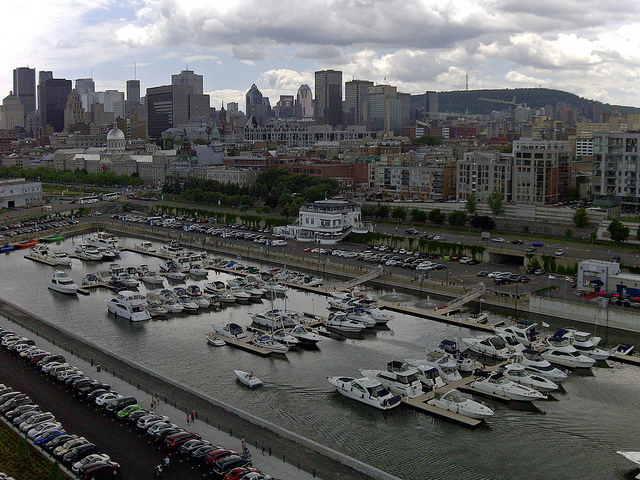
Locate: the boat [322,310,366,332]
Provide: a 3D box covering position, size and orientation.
[{"bbox_3d":[1.737,6.349,49.374,2.931,0.982,1.387,6,13,29],"label":"boat"}]

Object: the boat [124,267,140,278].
[{"bbox_3d":[-18.784,3.215,64.661,0.999,0.525,1.288,-13,35,-43],"label":"boat"}]

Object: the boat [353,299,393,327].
[{"bbox_3d":[4.201,5.751,51.724,4.067,1.509,1.224,25,34,38],"label":"boat"}]

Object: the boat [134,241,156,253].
[{"bbox_3d":[-20.606,0.879,76.708,2.004,0.864,1.318,10,16,27],"label":"boat"}]

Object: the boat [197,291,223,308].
[{"bbox_3d":[-9.138,5.208,55.444,1.663,0.971,1.270,-3,14,-9],"label":"boat"}]

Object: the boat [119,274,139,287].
[{"bbox_3d":[-18.227,3.962,61.793,0.834,0.735,2.665,-18,20,-35],"label":"boat"}]

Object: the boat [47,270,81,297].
[{"bbox_3d":[-24.100,4.171,61.049,3.305,1.110,1.074,20,26,39],"label":"boat"}]

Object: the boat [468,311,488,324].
[{"bbox_3d":[12.304,6.094,50.360,1.406,0.688,1.583,4,15,18],"label":"boat"}]

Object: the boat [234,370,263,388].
[{"bbox_3d":[-4.408,8.548,39.793,0.695,0.362,1.501,-10,21,-33],"label":"boat"}]

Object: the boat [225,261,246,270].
[{"bbox_3d":[-8.667,2.659,65.964,1.960,0.396,1.494,8,16,32],"label":"boat"}]

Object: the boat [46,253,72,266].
[{"bbox_3d":[-28.846,2.190,71.790,2.750,0.971,1.214,6,16,26],"label":"boat"}]

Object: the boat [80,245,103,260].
[{"bbox_3d":[-26.355,1.425,74.355,1.351,1.003,4.590,-18,24,-41],"label":"boat"}]

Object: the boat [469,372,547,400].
[{"bbox_3d":[11.151,8.742,38.202,4.830,1.122,1.395,6,23,40],"label":"boat"}]

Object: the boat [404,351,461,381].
[{"bbox_3d":[7.050,7.926,41.086,1.288,1.318,3.929,17,6,17],"label":"boat"}]

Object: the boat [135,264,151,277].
[{"bbox_3d":[-17.694,3.224,65.022,1.128,0.782,1.669,-13,25,-42],"label":"boat"}]

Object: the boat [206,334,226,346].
[{"bbox_3d":[-7.431,7.101,46.200,0.624,0.363,1.252,-13,26,-33],"label":"boat"}]

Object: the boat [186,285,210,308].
[{"bbox_3d":[-10.687,4.816,55.980,1.019,0.836,3.751,-11,21,-24],"label":"boat"}]

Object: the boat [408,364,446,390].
[{"bbox_3d":[6.549,8.334,39.296,1.570,0.541,1.065,9,14,43],"label":"boat"}]

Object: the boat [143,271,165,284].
[{"bbox_3d":[-16.038,3.652,62.539,1.691,0.786,1.080,16,21,34],"label":"boat"}]

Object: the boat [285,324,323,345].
[{"bbox_3d":[-1.194,6.772,46.509,3.235,1.271,1.048,8,17,29],"label":"boat"}]

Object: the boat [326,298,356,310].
[{"bbox_3d":[1.836,5.222,53.242,1.565,0.446,0.929,7,16,31],"label":"boat"}]

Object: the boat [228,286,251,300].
[{"bbox_3d":[-7.164,4.681,56.971,0.798,0.837,2.294,-24,27,-35],"label":"boat"}]

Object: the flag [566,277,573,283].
[{"bbox_3d":[22.178,3.541,57.486,0.537,0.285,1.057,4,15,18],"label":"flag"}]

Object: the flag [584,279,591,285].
[{"bbox_3d":[22.393,3.522,54.069,0.481,0.453,0.049,3,1,42],"label":"flag"}]

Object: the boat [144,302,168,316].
[{"bbox_3d":[-13.350,5.660,53.334,1.629,0.557,0.758,16,29,28],"label":"boat"}]

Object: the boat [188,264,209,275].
[{"bbox_3d":[-12.272,3.003,64.849,1.702,0.577,0.832,11,19,44],"label":"boat"}]

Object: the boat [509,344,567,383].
[{"bbox_3d":[14.026,8.089,41.767,1.326,1.560,4.483,-10,12,-28],"label":"boat"}]

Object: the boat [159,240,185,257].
[{"bbox_3d":[-16.870,1.206,74.164,2.156,1.147,3.354,-9,16,-30],"label":"boat"}]

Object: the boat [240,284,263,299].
[{"bbox_3d":[-6.147,4.567,57.505,2.510,0.927,0.824,17,27,42],"label":"boat"}]

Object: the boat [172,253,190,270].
[{"bbox_3d":[-14.280,2.432,67.257,1.772,1.566,1.382,-8,25,-13],"label":"boat"}]

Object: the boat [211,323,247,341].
[{"bbox_3d":[-6.651,6.540,47.231,3.004,0.681,0.888,18,21,39],"label":"boat"}]

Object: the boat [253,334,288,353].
[{"bbox_3d":[-3.478,7.173,44.947,0.919,0.715,2.760,-25,28,-39],"label":"boat"}]

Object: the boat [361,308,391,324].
[{"bbox_3d":[4.490,5.916,50.610,1.741,0.531,1.202,13,16,27],"label":"boat"}]

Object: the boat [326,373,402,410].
[{"bbox_3d":[2.612,9.044,38.282,4.431,1.369,1.470,14,21,40],"label":"boat"}]

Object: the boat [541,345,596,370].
[{"bbox_3d":[16.478,7.851,42.891,2.370,1.064,1.626,9,13,40],"label":"boat"}]

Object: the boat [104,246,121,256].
[{"bbox_3d":[-24.158,1.311,75.573,0.807,0.868,2.586,-15,18,-38],"label":"boat"}]

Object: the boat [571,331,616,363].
[{"bbox_3d":[18.244,7.301,43.994,1.150,1.536,3.912,-11,16,-27],"label":"boat"}]

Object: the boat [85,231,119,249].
[{"bbox_3d":[-26.121,0.198,78.759,4.969,1.685,1.841,18,22,39],"label":"boat"}]

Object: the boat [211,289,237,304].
[{"bbox_3d":[-8.346,4.864,56.565,0.833,0.855,2.499,-18,20,-40],"label":"boat"}]

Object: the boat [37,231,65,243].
[{"bbox_3d":[-34.702,-0.140,84.534,1.976,0.697,4.444,2,14,10],"label":"boat"}]

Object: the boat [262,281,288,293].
[{"bbox_3d":[-3.929,4.307,58.435,2.596,0.954,0.905,8,16,28],"label":"boat"}]

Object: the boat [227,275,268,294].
[{"bbox_3d":[-6.281,4.396,59.505,5.100,1.428,1.428,11,19,33],"label":"boat"}]

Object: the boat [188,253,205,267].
[{"bbox_3d":[-12.888,2.375,68.052,1.657,1.491,1.166,-2,17,-17],"label":"boat"}]
